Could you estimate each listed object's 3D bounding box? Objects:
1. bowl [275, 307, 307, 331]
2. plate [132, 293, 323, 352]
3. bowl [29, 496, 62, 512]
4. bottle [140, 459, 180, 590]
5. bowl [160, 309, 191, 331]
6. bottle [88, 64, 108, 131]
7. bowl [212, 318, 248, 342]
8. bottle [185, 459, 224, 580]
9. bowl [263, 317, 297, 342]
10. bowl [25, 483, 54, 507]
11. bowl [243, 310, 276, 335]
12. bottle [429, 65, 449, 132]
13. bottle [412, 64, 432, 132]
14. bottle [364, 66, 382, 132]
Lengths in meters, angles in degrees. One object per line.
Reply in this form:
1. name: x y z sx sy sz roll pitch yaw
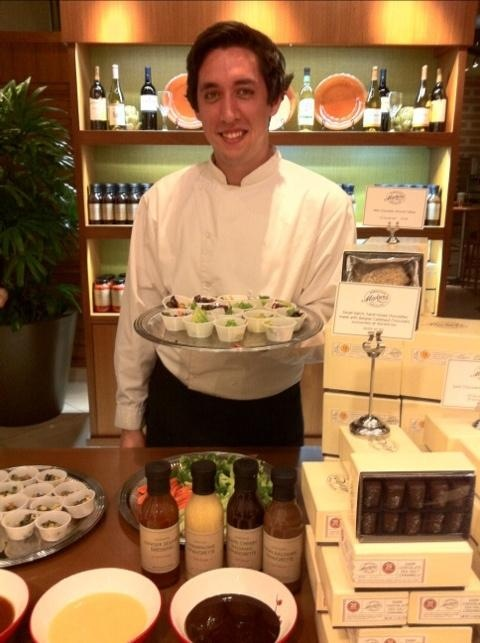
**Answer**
1. bowl: 0.116 -0.012 1.101 0.055 0.034 0.055 -1 13 0
2. plate: -0.025 0.001 1.115 0.412 0.011 0.422 -1 15 -1
3. bowl: -0.355 0.334 0.900 0.031 0.014 0.031 3 -8 0
4. bottle: -0.116 0.295 0.719 0.056 0.169 0.055 -2 2 0
5. bowl: -0.145 0.001 1.093 0.055 0.026 0.054 2 -2 0
6. bottle: -0.803 -1.259 2.767 0.104 0.371 0.303 -3 13 -15
7. bowl: -0.028 0.013 1.061 0.055 0.033 0.055 2 7 0
8. bottle: -0.051 0.288 0.696 0.053 0.183 0.040 -1 13 -8
9. bowl: 0.088 0.010 1.022 0.055 0.031 0.055 2 10 0
10. bowl: -0.388 0.332 0.939 0.033 0.027 0.036 4 1 0
11. bowl: 0.044 -0.002 1.125 0.057 0.035 0.057 1 6 0
12. bottle: 1.091 -1.218 2.709 0.091 0.338 0.165 2 13 8
13. bottle: 1.024 -1.257 2.764 0.091 0.394 0.344 5 14 19
14. bottle: 0.739 -1.233 2.742 0.100 0.361 0.298 3 13 12
